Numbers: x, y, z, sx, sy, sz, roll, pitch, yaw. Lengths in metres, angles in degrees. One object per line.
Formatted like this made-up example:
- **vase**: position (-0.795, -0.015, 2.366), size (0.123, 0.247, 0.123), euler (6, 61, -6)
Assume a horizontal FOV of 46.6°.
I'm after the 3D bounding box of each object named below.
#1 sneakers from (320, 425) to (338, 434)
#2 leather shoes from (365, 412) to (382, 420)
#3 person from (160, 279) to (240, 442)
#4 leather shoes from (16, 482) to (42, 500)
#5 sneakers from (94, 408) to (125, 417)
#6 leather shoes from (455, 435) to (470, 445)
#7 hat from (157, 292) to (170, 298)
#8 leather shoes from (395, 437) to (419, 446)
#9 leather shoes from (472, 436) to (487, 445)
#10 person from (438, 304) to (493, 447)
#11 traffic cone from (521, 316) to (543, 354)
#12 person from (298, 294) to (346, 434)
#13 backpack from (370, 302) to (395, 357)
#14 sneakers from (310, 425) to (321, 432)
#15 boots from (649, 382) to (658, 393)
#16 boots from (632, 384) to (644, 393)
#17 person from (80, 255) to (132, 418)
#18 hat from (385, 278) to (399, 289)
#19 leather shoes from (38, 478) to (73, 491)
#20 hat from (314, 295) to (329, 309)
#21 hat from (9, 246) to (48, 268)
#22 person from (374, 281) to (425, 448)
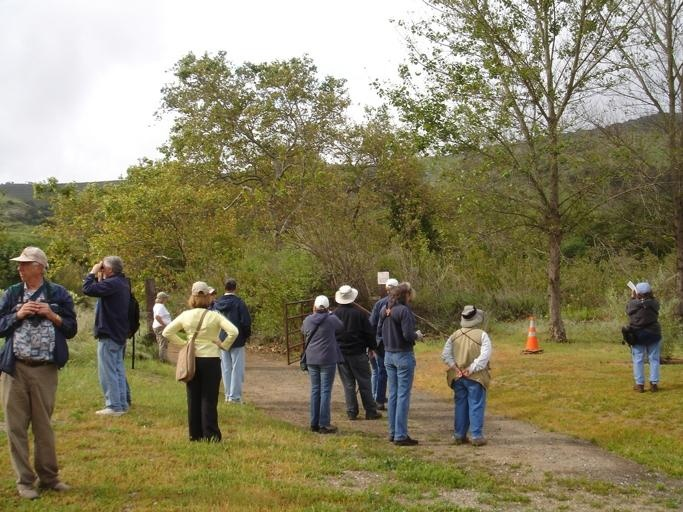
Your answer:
- **sneakers**: position (-0.258, 3.459, 15.908), size (0.330, 0.184, 0.151), euler (-1, -4, -4)
- **leather shoes**: position (0.694, 3.431, 17.117), size (0.336, 0.176, 0.135), euler (-4, 0, -19)
- **person**: position (-2.572, 1.914, 14.619), size (1.211, 2.803, 0.848), euler (2, 6, 1)
- **leather shoes**: position (-4.909, 3.687, 12.408), size (0.454, 0.213, 0.155), euler (-8, -21, 44)
- **sneakers**: position (-4.551, 3.068, 15.552), size (0.525, 0.253, 0.202), euler (7, -11, 4)
- **leather shoes**: position (2.355, 3.576, 15.436), size (0.121, 0.165, 0.342), euler (-1, -2, 42)
- **hat**: position (-5.156, 1.107, 22.833), size (0.419, 0.233, 0.658), euler (2, -3, -9)
- **leather shoes**: position (1.246, 3.551, 15.217), size (0.442, 0.224, 0.182), euler (0, -2, -13)
- **leather shoes**: position (2.680, 3.543, 15.262), size (0.347, 0.163, 0.150), euler (-1, 7, -24)
- **person**: position (2.432, 2.282, 15.357), size (0.853, 2.667, 0.507), euler (4, 7, 17)
- **traffic cone**: position (5.671, 2.317, 23.598), size (0.682, 1.020, 0.711), euler (1, 4, 30)
- **person**: position (-0.427, 2.166, 16.060), size (0.733, 2.639, 0.771), euler (2, 6, 0)
- **backpack**: position (0.906, 1.567, 17.367), size (0.374, 1.033, 0.703), euler (6, 1, 15)
- **sneakers**: position (-0.542, 3.468, 15.942), size (0.145, 0.160, 0.095), euler (0, -8, -1)
- **boots**: position (7.075, 2.989, 17.925), size (0.112, 0.259, 0.259), euler (-4, -16, 21)
- **boots**: position (6.754, 3.001, 18.012), size (0.184, 0.210, 0.137), euler (-1, -1, -12)
- **person**: position (-4.606, 1.549, 15.638), size (0.779, 3.061, 0.751), euler (0, 7, -17)
- **hat**: position (1.101, 0.608, 17.453), size (0.316, 0.315, 0.241), euler (9, 3, 4)
- **leather shoes**: position (-4.555, 3.637, 12.657), size (0.502, 0.253, 0.193), euler (-1, -4, -5)
- **hat**: position (-0.409, 0.947, 16.331), size (0.300, 0.260, 0.514), euler (9, 4, 0)
- **hat**: position (-5.014, 0.017, 12.789), size (0.441, 0.257, 0.342), euler (8, -7, -29)
- **person**: position (1.145, 2.059, 15.338), size (0.569, 3.029, 0.878), euler (0, 7, -18)
